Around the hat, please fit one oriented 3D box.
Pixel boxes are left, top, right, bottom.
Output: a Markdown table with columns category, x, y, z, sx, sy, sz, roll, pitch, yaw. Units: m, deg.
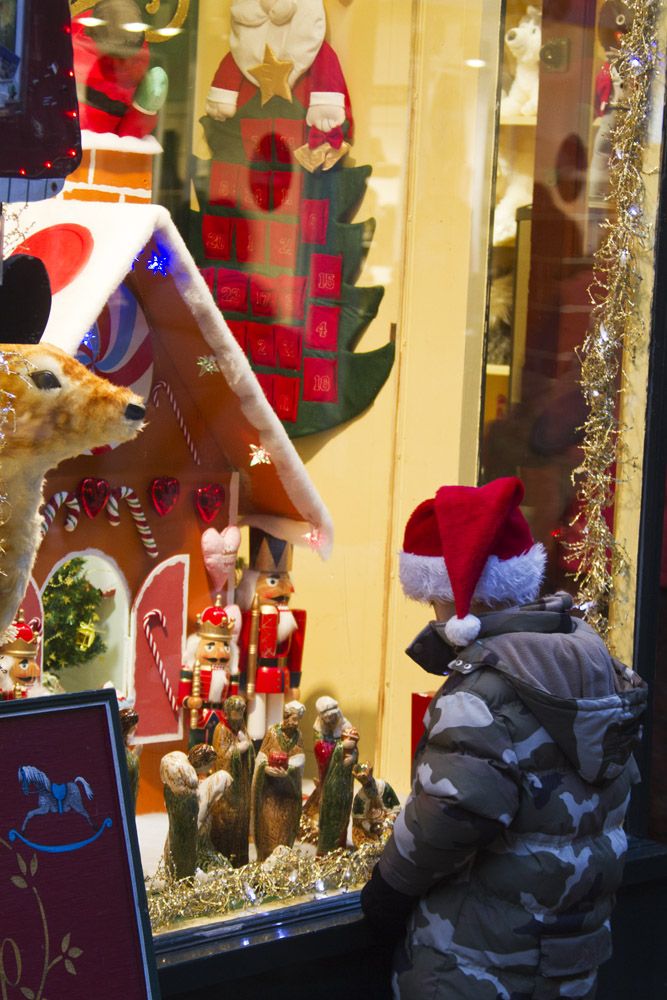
| category | x | y | z | sx | sy | sz | roll | pitch | yaw |
| --- | --- | --- | --- | --- | --- | --- | --- | --- | --- |
| hat | 0.254 | 0.116 | 2.084 | 0.289 | 0.278 | 0.322 | -1 | 1 | 7 |

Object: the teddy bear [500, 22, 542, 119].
| category | x | y | z | sx | sy | sz | roll | pitch | yaw |
| --- | --- | --- | --- | --- | --- | --- | --- | --- | --- |
| teddy bear | 0.496 | -1.128 | 3.035 | 0.103 | 0.280 | 0.038 | -1 | 4 | 7 |
